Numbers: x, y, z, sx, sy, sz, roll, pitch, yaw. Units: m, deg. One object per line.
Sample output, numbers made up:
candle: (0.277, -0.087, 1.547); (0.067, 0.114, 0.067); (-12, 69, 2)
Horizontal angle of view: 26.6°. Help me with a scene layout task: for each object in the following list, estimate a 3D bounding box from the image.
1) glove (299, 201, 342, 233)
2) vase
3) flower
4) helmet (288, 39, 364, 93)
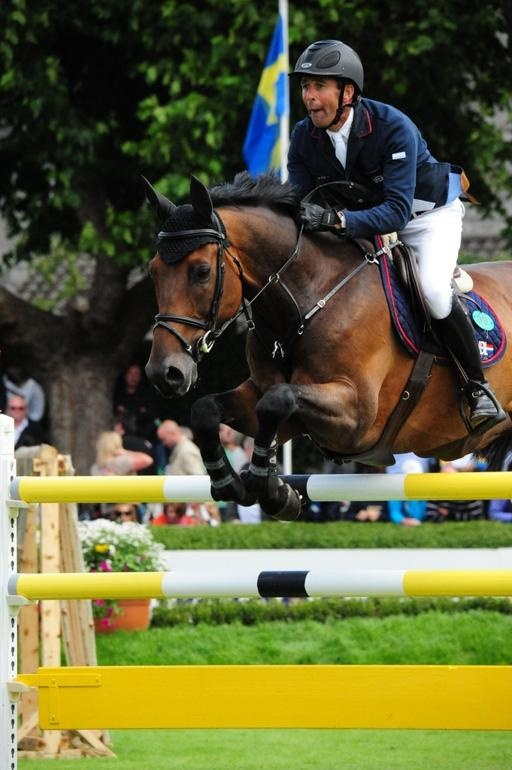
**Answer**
glove: (0.209, -0.535, 3.471); (0.121, 0.089, 0.044); (9, -34, -9)
vase: (-0.623, 1.025, 5.141); (0.318, 0.202, 0.302); (-1, -8, 0)
flower: (-0.634, 0.982, 5.359); (0.554, 0.461, 0.513); (-2, -23, 5)
helmet: (0.214, -1.041, 3.541); (0.220, 0.166, 0.159); (-9, 18, -28)
